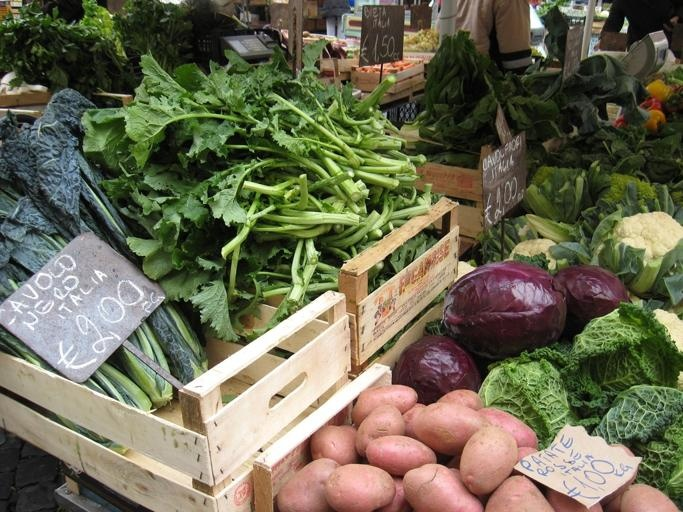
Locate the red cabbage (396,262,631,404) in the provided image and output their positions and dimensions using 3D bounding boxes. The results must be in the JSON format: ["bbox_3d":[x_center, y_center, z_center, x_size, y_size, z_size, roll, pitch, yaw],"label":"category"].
[{"bbox_3d":[0.749,0.278,2.609,1.065,0.459,0.587,-24,19,-6],"label":"red cabbage"}]

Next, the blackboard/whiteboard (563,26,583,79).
[{"bbox_3d":[1.748,-1.557,4.112,0.018,0.348,0.552,9,26,36],"label":"blackboard/whiteboard"}]

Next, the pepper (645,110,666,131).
[{"bbox_3d":[2.773,-1.213,4.763,0.153,0.145,0.455,20,35,23],"label":"pepper"}]

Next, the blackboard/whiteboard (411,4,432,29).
[{"bbox_3d":[1.039,-3.150,7.070,0.243,0.287,0.426,2,22,36],"label":"blackboard/whiteboard"}]

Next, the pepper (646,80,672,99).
[{"bbox_3d":[3.122,-1.649,5.314,0.224,0.161,0.381,20,35,23],"label":"pepper"}]

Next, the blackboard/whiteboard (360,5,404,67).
[{"bbox_3d":[0.315,-1.749,4.236,0.647,0.591,0.049,-18,33,-40],"label":"blackboard/whiteboard"}]
